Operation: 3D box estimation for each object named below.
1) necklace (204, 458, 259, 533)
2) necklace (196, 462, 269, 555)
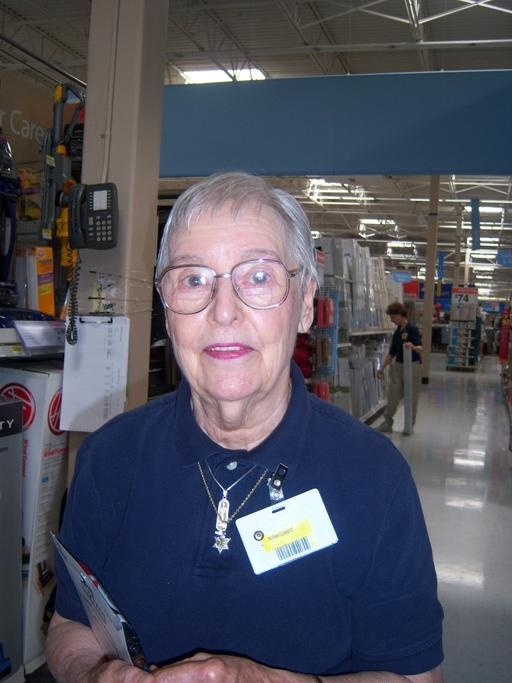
[{"bbox_3d":[-0.036,0.254,0.830,0.111,0.141,0.011,4,-29,5],"label":"necklace"},{"bbox_3d":[-0.032,0.273,0.821,0.139,0.166,0.013,3,-27,13],"label":"necklace"}]
